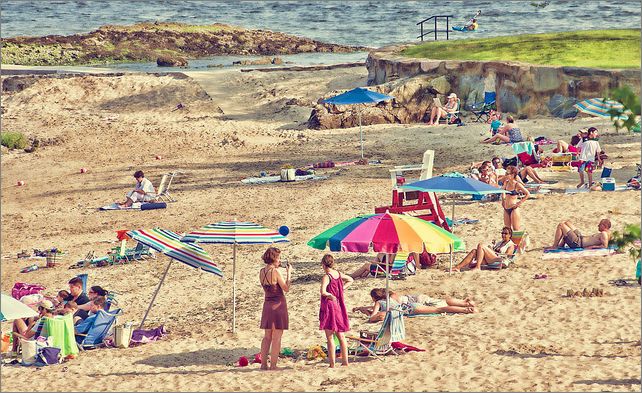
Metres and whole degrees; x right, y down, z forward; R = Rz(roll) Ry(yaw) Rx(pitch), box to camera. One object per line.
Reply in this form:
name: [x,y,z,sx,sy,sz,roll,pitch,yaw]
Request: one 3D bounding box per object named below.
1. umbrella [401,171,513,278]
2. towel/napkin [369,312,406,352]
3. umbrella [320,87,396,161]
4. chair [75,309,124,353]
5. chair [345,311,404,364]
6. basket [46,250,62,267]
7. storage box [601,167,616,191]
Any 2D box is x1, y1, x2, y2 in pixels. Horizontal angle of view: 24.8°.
umbrella: [7.664,0.055,86.392,5.216,3.311,5.353,-1,12,-11]
towel/napkin: [4.074,7.307,82.541,1.099,2.032,2.655,10,8,21]
umbrella: [2.483,-5.198,94.724,4.369,3.967,4.443,-1,6,6]
chair: [-12.698,7.583,83.191,1.827,2.174,1.876,0,-2,20]
chair: [3.140,7.898,82.683,2.557,2.909,2.710,-1,-1,-28]
basket: [-15.956,3.596,86.805,0.985,0.854,0.932,0,5,-19]
storage box: [17.541,-1.198,89.195,0.827,0.866,1.523,-2,25,12]
